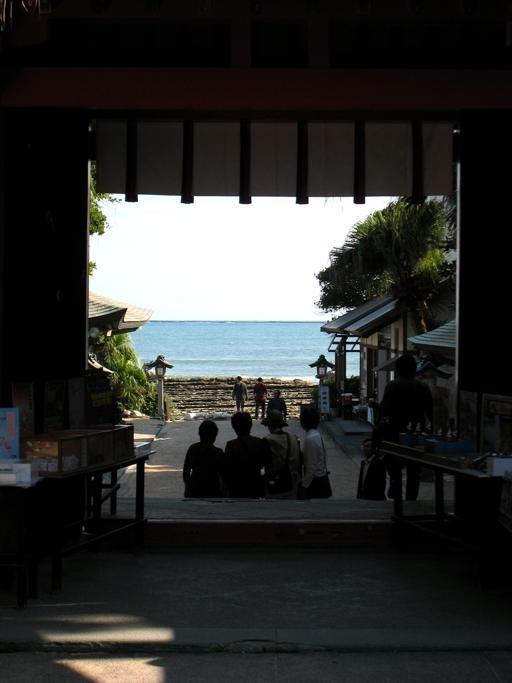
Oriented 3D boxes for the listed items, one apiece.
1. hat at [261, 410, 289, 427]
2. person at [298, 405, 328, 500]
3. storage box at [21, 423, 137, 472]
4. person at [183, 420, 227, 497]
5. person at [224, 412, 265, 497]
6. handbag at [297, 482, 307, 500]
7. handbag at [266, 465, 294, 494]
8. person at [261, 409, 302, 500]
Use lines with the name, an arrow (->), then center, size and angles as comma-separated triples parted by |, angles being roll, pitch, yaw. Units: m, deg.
hat -> 0.190, 0.766, 8.267 | 0.220, 0.114, 0.279 | 5, -17, 1
person -> 0.599, 1.167, 8.086 | 0.303, 0.952, 0.597 | 0, -2, 4
storage box -> -1.398, 0.848, 6.285 | 0.389, 0.292, 1.067 | -1, -2, 22
person -> -0.529, 1.198, 7.941 | 0.393, 0.799, 0.445 | 0, -2, -5
person -> -0.118, 1.160, 7.962 | 0.418, 0.879, 0.484 | 0, -2, -2
handbag -> 0.469, 1.529, 8.086 | 0.100, 0.165, 0.042 | 1, 8, -3
handbag -> 0.232, 1.423, 7.983 | 0.243, 0.283, 0.063 | -10, 6, 5
person -> 0.272, 1.167, 8.001 | 0.385, 0.879, 0.548 | 0, -2, 1
